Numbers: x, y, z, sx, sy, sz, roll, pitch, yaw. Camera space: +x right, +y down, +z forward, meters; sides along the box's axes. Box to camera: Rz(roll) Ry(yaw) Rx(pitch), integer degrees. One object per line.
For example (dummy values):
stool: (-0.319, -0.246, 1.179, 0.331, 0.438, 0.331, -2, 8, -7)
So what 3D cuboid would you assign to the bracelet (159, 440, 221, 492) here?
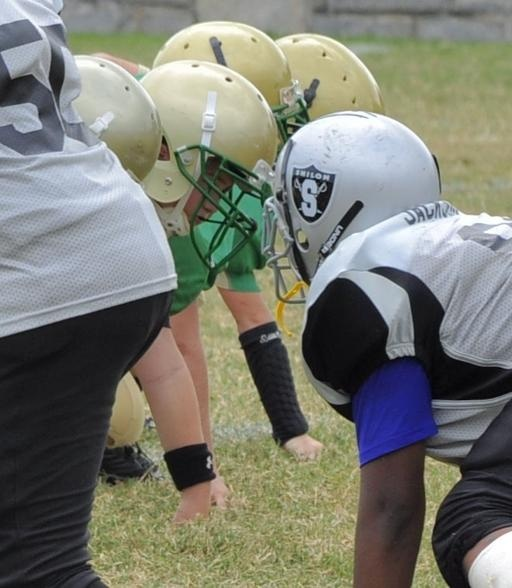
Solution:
bracelet: (-0.166, 0.431, 2.008, 0.130, 0.111, 0.096, -20, 83, -1)

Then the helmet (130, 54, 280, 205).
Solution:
helmet: (-0.091, -0.398, 1.840, 0.368, 0.274, 0.256, 6, 15, 1)

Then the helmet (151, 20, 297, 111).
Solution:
helmet: (-0.067, -0.631, 2.253, 0.346, 0.261, 0.238, 16, 16, 4)
